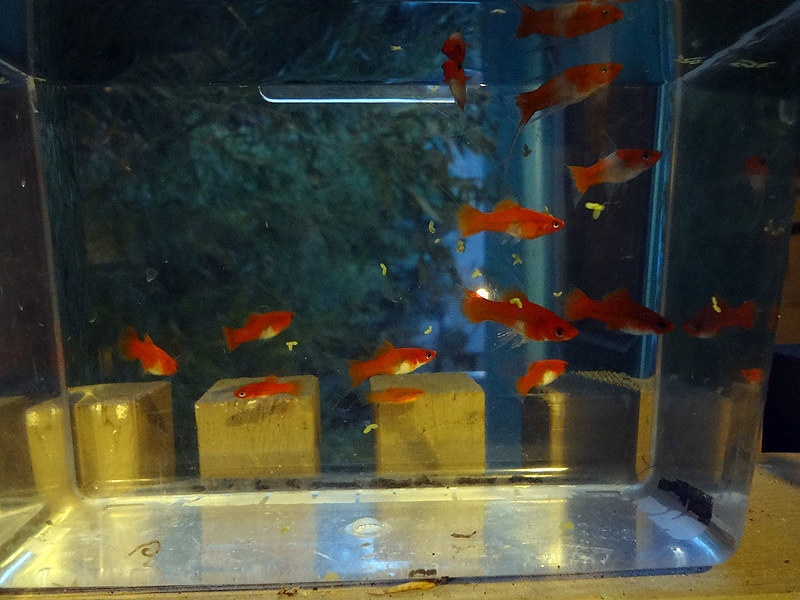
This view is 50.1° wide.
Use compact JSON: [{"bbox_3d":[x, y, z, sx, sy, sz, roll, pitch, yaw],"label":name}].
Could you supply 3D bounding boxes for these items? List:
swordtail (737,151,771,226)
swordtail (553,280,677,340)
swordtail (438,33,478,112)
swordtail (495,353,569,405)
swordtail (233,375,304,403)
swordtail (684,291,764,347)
[{"bbox_3d":[1.110,-0.350,2.654,0.007,0.200,0.077,-4,0,-40],"label":"swordtail"},{"bbox_3d":[0.762,0.034,2.958,0.281,0.129,0.060,20,40,27],"label":"swordtail"},{"bbox_3d":[0.194,-0.792,2.974,0.058,0.261,0.099,-17,24,-33],"label":"swordtail"},{"bbox_3d":[0.486,0.271,3.134,0.276,0.146,0.078,-32,6,18],"label":"swordtail"},{"bbox_3d":[-0.470,0.321,3.097,0.205,0.106,0.044,-5,-15,-16],"label":"swordtail"},{"bbox_3d":[1.033,0.053,2.772,0.040,0.138,0.275,-4,-1,-26],"label":"swordtail"}]
